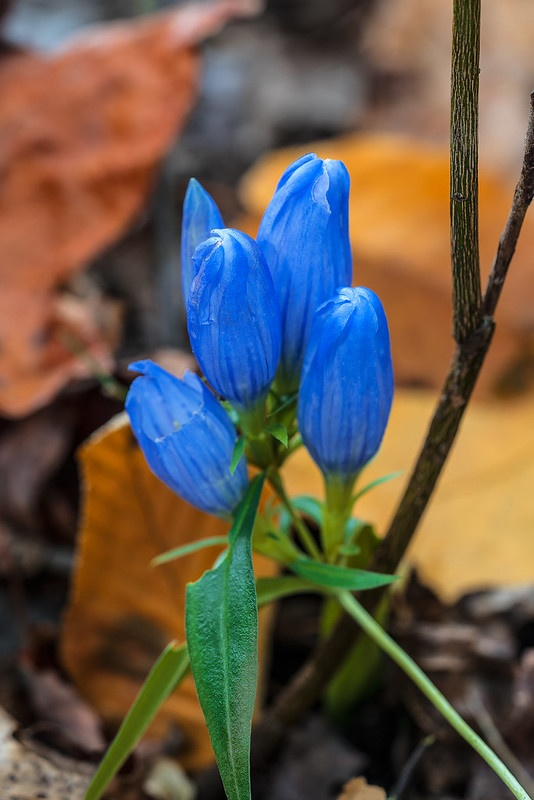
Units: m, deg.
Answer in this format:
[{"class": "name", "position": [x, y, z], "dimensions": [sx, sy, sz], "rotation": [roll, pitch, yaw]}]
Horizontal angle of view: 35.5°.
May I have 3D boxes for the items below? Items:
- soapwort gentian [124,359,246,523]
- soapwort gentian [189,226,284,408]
[{"class": "soapwort gentian", "position": [-0.046, 0.027, 0.495], "dimensions": [0.068, 0.095, 0.041], "rotation": [3, 40, -2]}, {"class": "soapwort gentian", "position": [-0.019, -0.045, 0.485], "dimensions": [0.052, 0.114, 0.039], "rotation": [8, 40, 5]}]
